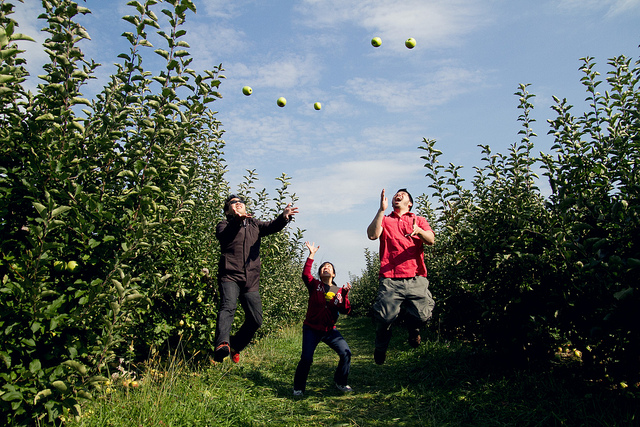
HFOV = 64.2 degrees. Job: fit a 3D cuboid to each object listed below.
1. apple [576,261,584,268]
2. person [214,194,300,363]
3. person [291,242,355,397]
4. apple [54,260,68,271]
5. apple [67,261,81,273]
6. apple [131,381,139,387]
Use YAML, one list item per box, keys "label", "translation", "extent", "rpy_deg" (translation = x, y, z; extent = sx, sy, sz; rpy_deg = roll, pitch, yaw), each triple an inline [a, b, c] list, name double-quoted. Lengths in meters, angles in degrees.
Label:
- label: "apple"
  translation: [3.199, 0.618, 6.241]
  extent: [0.057, 0.081, 0.107]
  rpy_deg: [6, -5, -11]
- label: "person"
  translation: [-1.145, 0.986, 7.661]
  extent: [0.919, 2.552, 0.703]
  rpy_deg: [8, -6, -28]
- label: "person"
  translation: [0.113, 1.610, 7.787]
  extent: [0.893, 2.208, 0.773]
  rpy_deg: [6, -5, -2]
- label: "apple"
  translation: [-2.549, 0.510, 5.028]
  extent: [0.095, 0.089, 0.095]
  rpy_deg: [-34, -25, 6]
- label: "apple"
  translation: [-2.424, 0.520, 5.011]
  extent: [0.125, 0.097, 0.097]
  rpy_deg: [11, 3, 42]
- label: "apple"
  translation: [-2.359, 2.174, 6.522]
  extent: [0.106, 0.056, 0.103]
  rpy_deg: [-1, -6, 25]
